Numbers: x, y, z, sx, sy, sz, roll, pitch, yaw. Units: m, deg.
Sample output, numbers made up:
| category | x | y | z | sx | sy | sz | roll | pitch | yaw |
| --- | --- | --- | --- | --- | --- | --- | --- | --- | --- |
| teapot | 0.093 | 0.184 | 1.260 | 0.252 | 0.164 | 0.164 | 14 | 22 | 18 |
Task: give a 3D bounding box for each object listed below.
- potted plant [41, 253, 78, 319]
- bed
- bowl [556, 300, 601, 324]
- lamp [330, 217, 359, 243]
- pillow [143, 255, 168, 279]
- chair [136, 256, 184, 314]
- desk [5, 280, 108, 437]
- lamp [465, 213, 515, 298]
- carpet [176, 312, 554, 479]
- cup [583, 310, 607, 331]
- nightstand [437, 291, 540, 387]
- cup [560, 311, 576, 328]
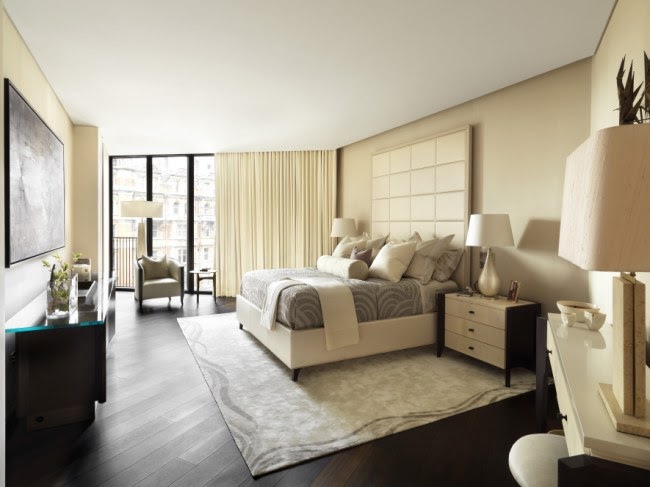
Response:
| category | x | y | z | sx | sy | sz | roll | pitch | yaw |
| --- | --- | --- | --- | --- | --- | --- | --- | --- | --- |
| potted plant | -2.175 | 0.362 | 3.500 | 0.172 | 0.474 | 0.456 | 1 | -1 | -18 |
| bed | 0.088 | 0.590 | 5.156 | 2.261 | 1.300 | 2.280 | 0 | 1 | -37 |
| bowl | 1.601 | 0.436 | 2.774 | 0.157 | 0.089 | 0.196 | 1 | 1 | 5 |
| lamp | 0.274 | -0.176 | 6.469 | 0.317 | 0.362 | 0.339 | 1 | 1 | 0 |
| pillow | -2.562 | 0.378 | 6.489 | 0.320 | 0.352 | 0.116 | 1 | -8 | -34 |
| chair | -2.359 | 0.680 | 6.585 | 0.793 | 1.065 | 0.718 | 3 | -6 | -35 |
| desk | -2.025 | 0.894 | 3.298 | 0.687 | 0.811 | 0.654 | -3 | 13 | -17 |
| lamp | 1.629 | 0.092 | 4.237 | 0.415 | 0.791 | 0.581 | 7 | 14 | 28 |
| carpet | 0.209 | 1.216 | 4.042 | 2.499 | 0.117 | 2.151 | -6 | 14 | -28 |
| cup | 1.642 | 0.474 | 2.610 | 0.118 | 0.113 | 0.099 | -4 | -6 | 34 |
| nightstand | 1.582 | 0.790 | 4.198 | 0.617 | 0.841 | 1.047 | 0 | 0 | -25 |
| cup | 1.519 | 0.479 | 2.680 | 0.067 | 0.073 | 0.073 | 4 | 6 | 0 |
